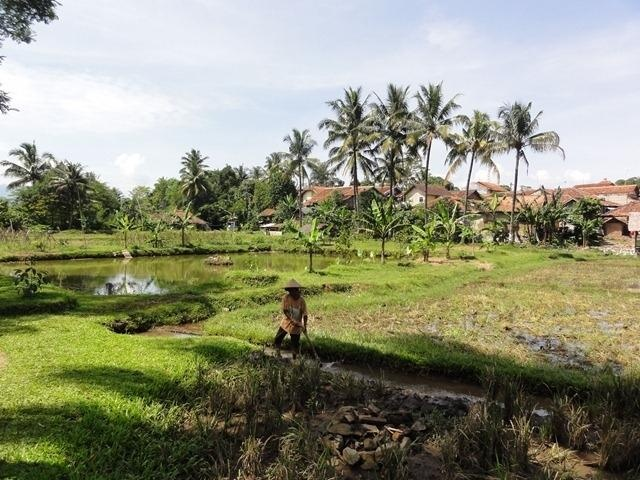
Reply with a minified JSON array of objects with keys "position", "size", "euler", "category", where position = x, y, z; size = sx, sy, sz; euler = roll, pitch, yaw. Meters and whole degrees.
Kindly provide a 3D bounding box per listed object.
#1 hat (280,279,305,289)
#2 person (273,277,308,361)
[{"position":[-0.606,0.968,10.079],"size":[0.322,0.216,0.441],"euler":[-1,-1,1],"category":"hat"},{"position":[-0.642,1.744,10.108],"size":[0.508,1.686,0.838],"euler":[-1,0,-44],"category":"person"}]
